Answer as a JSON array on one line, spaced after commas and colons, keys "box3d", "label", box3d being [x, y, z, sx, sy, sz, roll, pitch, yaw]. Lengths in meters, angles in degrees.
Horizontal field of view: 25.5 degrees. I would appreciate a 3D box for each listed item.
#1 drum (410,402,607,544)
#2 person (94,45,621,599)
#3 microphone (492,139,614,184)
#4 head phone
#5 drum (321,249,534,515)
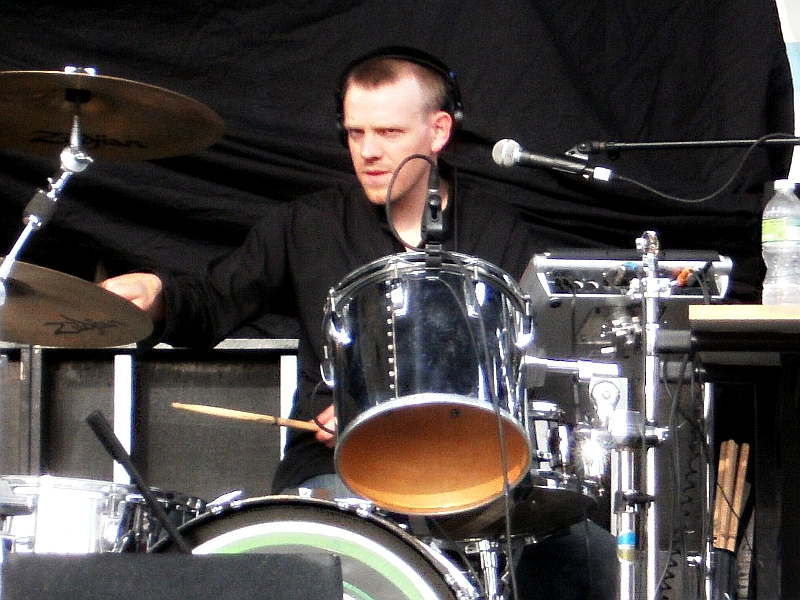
[{"box3d": [0.306, 0.496, 4.472, 0.427, 0.142, 0.419, 0, -27, 0], "label": "drum"}, {"box3d": [-0.079, 0.015, 4.811, 1.625, 1.932, 1.074, -2, -9, 4], "label": "person"}, {"box3d": [0.432, -0.394, 4.986, 0.376, 0.090, 0.094, 11, 34, 6], "label": "microphone"}, {"box3d": [-0.002, -0.566, 5.015, 0.363, 0.257, 0.127, -2, 24, -2], "label": "head phone"}, {"box3d": [0.024, 0.180, 4.421, 0.641, 0.462, 0.610, -1, -45, -1], "label": "drum"}]
